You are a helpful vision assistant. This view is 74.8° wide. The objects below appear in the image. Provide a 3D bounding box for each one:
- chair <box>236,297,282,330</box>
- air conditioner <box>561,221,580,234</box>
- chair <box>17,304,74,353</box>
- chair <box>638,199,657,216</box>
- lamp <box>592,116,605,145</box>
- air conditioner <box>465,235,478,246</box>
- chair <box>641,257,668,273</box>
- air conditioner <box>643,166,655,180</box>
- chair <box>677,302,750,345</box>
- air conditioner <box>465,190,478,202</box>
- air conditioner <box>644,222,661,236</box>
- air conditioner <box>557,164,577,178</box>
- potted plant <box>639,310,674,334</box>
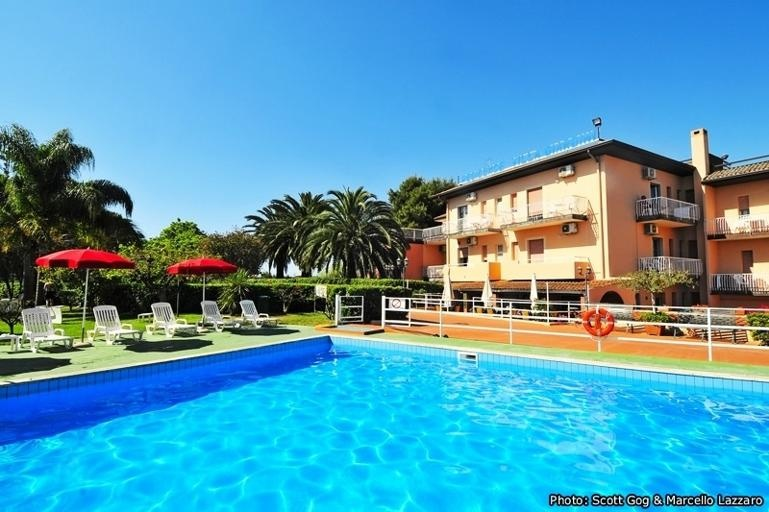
[{"bbox_3d":[-6.977,3.143,27.437,1.840,1.469,2.143,1,-6,-27],"label":"chair"},{"bbox_3d":[13.142,-1.744,35.611,0.706,0.899,1.282,7,-10,-27],"label":"air conditioner"},{"bbox_3d":[-14.535,3.127,21.633,1.597,1.861,2.071,3,-7,-41],"label":"chair"},{"bbox_3d":[18.365,-3.364,35.518,1.290,1.224,1.263,9,-11,-36],"label":"chair"},{"bbox_3d":[15.113,-8.997,35.620,0.628,1.484,0.777,-3,-5,20],"label":"lamp"},{"bbox_3d":[7.450,-1.211,43.164,0.654,1.003,1.165,8,-8,-21],"label":"air conditioner"},{"bbox_3d":[18.282,0.505,34.443,1.351,0.882,1.398,-1,-5,38],"label":"chair"},{"bbox_3d":[18.688,-5.835,35.618,0.986,0.875,0.512,2,-3,-34],"label":"air conditioner"},{"bbox_3d":[16.542,3.461,25.303,1.259,1.010,2.218,1,-1,-35],"label":"chair"},{"bbox_3d":[7.450,-5.065,42.906,0.787,0.723,0.907,2,-6,-37],"label":"air conditioner"},{"bbox_3d":[18.810,-1.840,35.535,1.399,1.246,0.733,4,-9,-38],"label":"air conditioner"},{"bbox_3d":[12.917,-5.742,35.748,0.729,0.915,1.304,8,-10,-15],"label":"air conditioner"},{"bbox_3d":[14.436,3.587,26.995,2.365,1.206,1.735,2,-6,-32],"label":"potted plant"}]
